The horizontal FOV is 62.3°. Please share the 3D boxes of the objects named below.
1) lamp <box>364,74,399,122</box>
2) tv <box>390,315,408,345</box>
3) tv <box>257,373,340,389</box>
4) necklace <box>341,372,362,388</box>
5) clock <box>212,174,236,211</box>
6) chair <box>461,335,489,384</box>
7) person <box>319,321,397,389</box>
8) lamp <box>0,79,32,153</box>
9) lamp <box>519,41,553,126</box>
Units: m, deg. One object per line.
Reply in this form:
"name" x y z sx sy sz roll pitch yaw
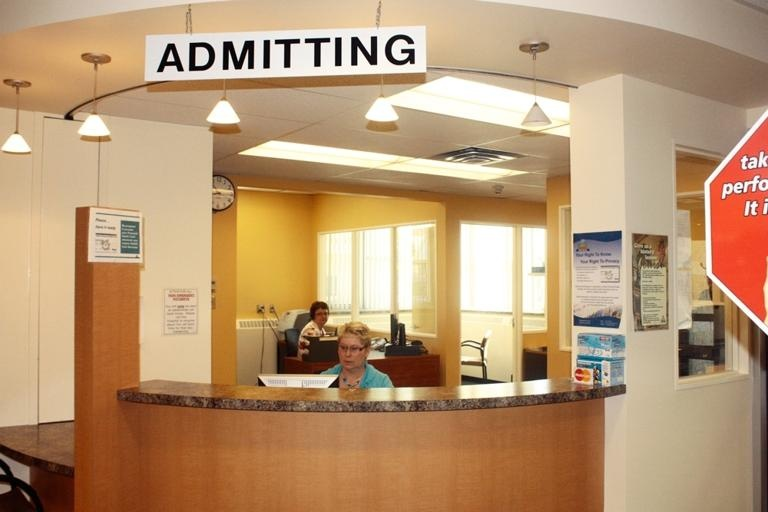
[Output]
"lamp" -0.021 -1.127 4.603 0.261 0.230 0.259 9 26 16
"tv" 0.224 1.143 9.853 0.270 0.471 0.104 2 3 37
"tv" -0.669 0.963 4.891 0.602 0.105 0.199 2 7 -7
"necklace" -0.292 1.066 5.392 0.121 0.122 0.033 12 2 34
"clock" -2.195 -0.862 8.636 0.526 0.477 0.044 9 12 38
"chair" 1.533 1.748 11.076 0.635 0.739 0.539 -3 2 -2
"person" -0.248 0.917 5.464 0.780 0.635 0.415 -1 -5 22
"lamp" -3.178 -1.182 5.473 0.252 0.613 0.712 -1 8 -29
"lamp" 1.176 -1.329 4.973 0.386 0.587 0.375 -2 7 10
